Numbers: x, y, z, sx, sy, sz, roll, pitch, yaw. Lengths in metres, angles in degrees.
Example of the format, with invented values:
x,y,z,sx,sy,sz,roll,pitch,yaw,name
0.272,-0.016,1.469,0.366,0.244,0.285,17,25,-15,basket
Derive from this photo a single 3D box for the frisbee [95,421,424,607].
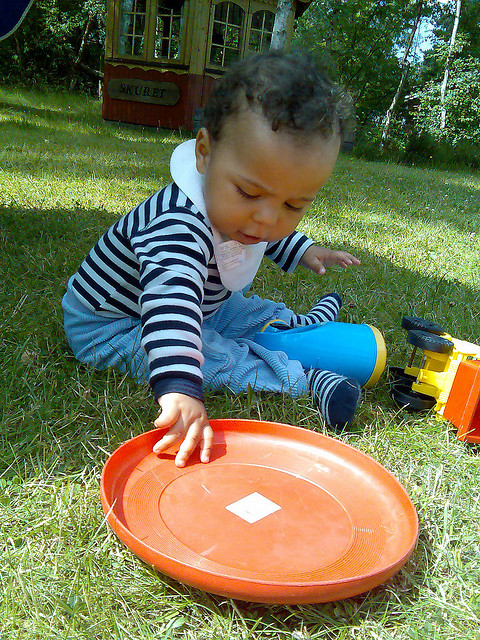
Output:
x,y,z,sx,sy,sz,roll,pitch,yaw,name
0.029,0.312,0.963,0.524,0.072,0.555,12,11,9,frisbee

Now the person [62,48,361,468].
x,y,z,sx,sy,sz,roll,pitch,yaw,name
-0.021,-0.024,1.489,0.810,1.139,0.585,13,15,40,person

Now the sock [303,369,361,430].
x,y,z,sx,sy,sz,roll,pitch,yaw,name
0.236,0.216,1.441,0.072,0.091,0.118,-22,18,-19,sock
